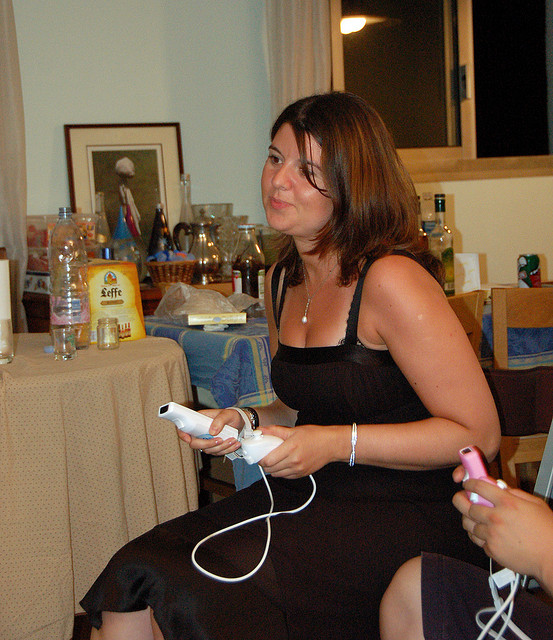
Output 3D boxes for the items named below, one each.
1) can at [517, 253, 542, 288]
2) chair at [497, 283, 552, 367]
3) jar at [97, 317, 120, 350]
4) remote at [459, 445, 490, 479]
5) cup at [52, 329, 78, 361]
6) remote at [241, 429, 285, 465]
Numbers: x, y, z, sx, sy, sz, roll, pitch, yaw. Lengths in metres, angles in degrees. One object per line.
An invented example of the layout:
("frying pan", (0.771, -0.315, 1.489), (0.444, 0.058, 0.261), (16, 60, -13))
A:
("can", (0.813, -0.156, 1.850), (0.064, 0.100, 0.157), (0, 10, 23))
("chair", (0.742, 0.020, 1.705), (0.132, 0.269, 0.320), (0, 10, 26))
("jar", (-0.432, 0.036, 1.473), (0.070, 0.102, 0.071), (-1, -7, 0))
("remote", (0.226, 0.166, 0.655), (0.031, 0.039, 0.039), (-1, 10, 21))
("cup", (-0.505, 0.057, 1.366), (0.068, 0.077, 0.065), (0, 2, 0))
("remote", (-0.025, 0.177, 0.801), (0.062, 0.032, 0.037), (-30, 28, -16))
